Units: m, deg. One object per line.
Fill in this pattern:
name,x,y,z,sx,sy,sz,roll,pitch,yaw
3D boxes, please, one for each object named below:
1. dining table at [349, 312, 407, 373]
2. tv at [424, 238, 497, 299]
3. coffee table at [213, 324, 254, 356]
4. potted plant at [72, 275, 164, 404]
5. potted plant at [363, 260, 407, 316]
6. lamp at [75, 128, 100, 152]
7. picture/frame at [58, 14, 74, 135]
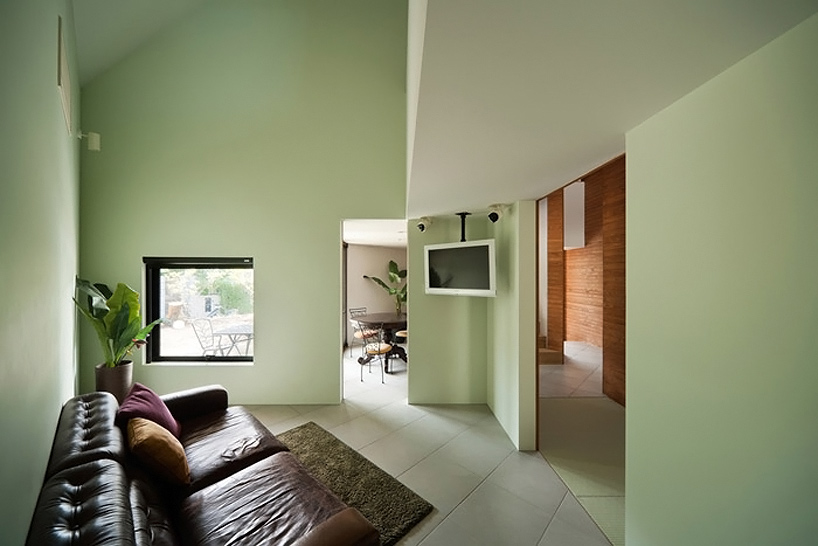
dining table,-0.369,0.990,7.633,0.772,0.567,0.773,0,-1,-6
tv,0.510,-0.046,5.494,0.094,0.550,0.974,-4,1,-45
coffee table,-2.006,0.726,6.116,0.374,0.355,0.373,2,2,10
potted plant,-2.910,0.725,5.293,0.888,1.215,0.810,1,-5,1
potted plant,-0.294,0.278,9.573,0.917,0.785,0.917,-2,0,23
lamp,-3.417,-1.388,5.571,0.240,0.241,0.095,3,-19,-35
picture/frame,-3.003,-1.748,4.573,0.048,1.041,0.749,-3,1,-29
